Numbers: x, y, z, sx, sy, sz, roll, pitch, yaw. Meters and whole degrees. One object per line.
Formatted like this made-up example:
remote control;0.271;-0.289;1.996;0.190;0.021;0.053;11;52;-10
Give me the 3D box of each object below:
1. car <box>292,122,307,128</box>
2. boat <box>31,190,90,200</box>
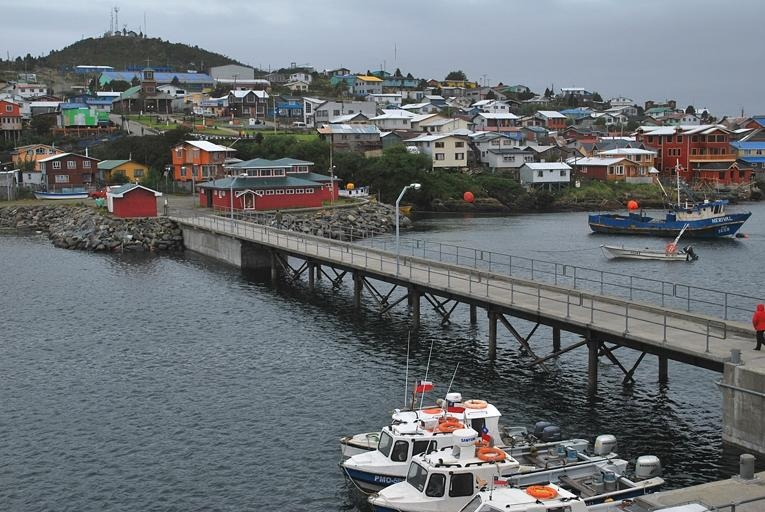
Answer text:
car;-11.271;-17.417;155.622;2.019;0.828;1.246;-4;13;-19
boat;-31.052;-5.847;111.466;5.318;0.675;2.910;2;11;12
